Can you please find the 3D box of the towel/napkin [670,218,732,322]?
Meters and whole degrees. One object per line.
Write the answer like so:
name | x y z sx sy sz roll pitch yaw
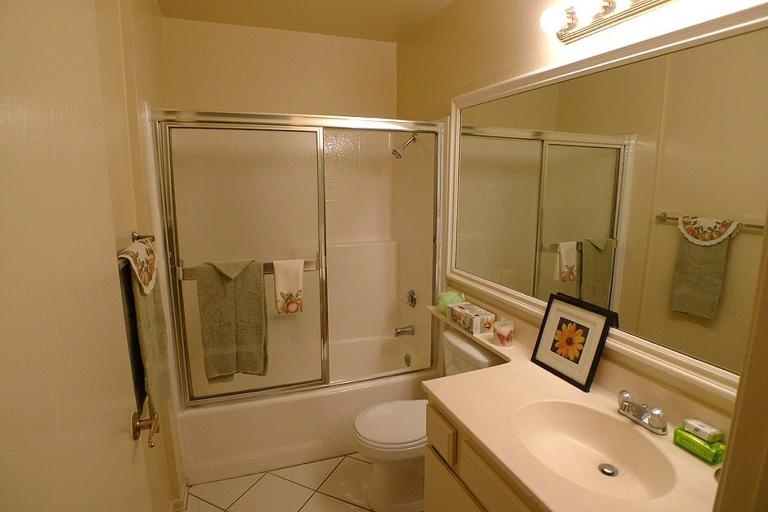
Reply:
towel/napkin | 1.121 0.037 1.962 0.180 0.363 0.057 10 -7 23

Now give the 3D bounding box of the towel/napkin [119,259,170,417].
towel/napkin | -0.939 0.280 2.222 0.098 0.616 0.388 -4 12 -10

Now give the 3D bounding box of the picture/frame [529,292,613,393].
picture/frame | 0.790 0.369 2.292 0.033 0.433 0.351 20 -4 -26

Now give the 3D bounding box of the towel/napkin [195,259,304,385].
towel/napkin | -0.728 0.329 2.900 0.623 0.694 0.131 -4 7 -27

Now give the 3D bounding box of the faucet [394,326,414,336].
faucet | 0.137 0.492 3.619 0.100 0.051 0.067 -2 3 -9

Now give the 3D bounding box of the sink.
sink | 0.761 0.693 1.986 0.538 0.208 0.227 8 15 38
